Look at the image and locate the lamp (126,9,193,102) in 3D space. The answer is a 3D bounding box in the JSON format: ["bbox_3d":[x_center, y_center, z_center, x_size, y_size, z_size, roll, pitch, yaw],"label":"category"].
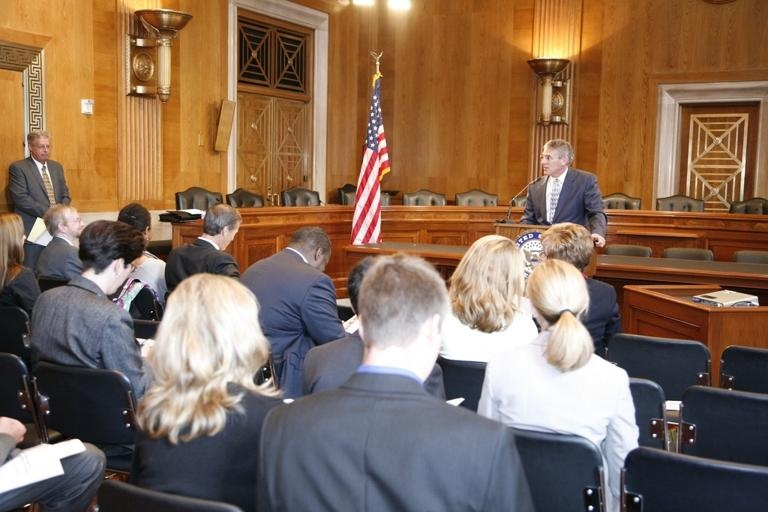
[{"bbox_3d":[-2.819,-2.515,7.298,0.709,1.061,0.398,5,6,32],"label":"lamp"}]

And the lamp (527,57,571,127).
[{"bbox_3d":[2.687,-2.713,9.663,0.634,1.018,0.490,3,5,17],"label":"lamp"}]
